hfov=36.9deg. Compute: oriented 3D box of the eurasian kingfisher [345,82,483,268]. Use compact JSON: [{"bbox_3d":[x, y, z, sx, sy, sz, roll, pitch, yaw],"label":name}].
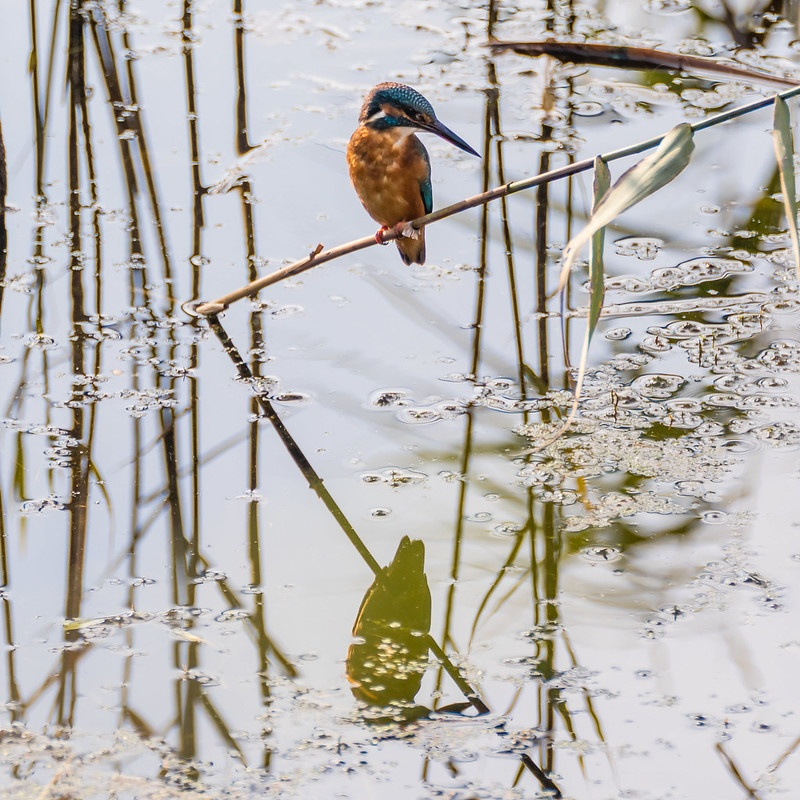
[{"bbox_3d":[0.001,-0.808,3.956,0.352,0.485,0.395,-7,-26,-6],"label":"eurasian kingfisher"}]
